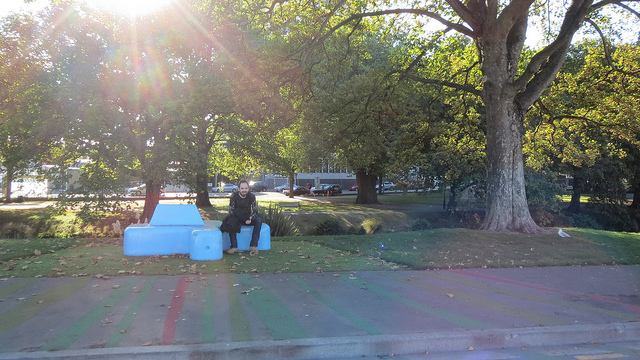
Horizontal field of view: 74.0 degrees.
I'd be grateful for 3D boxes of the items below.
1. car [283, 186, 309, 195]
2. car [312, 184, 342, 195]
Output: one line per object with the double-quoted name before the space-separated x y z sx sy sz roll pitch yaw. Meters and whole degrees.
"car" -3.378 1.586 66.883 2.925 0.955 1.696 1 -1 0
"car" 1.721 1.366 68.174 3.316 0.977 1.890 4 -7 -26
